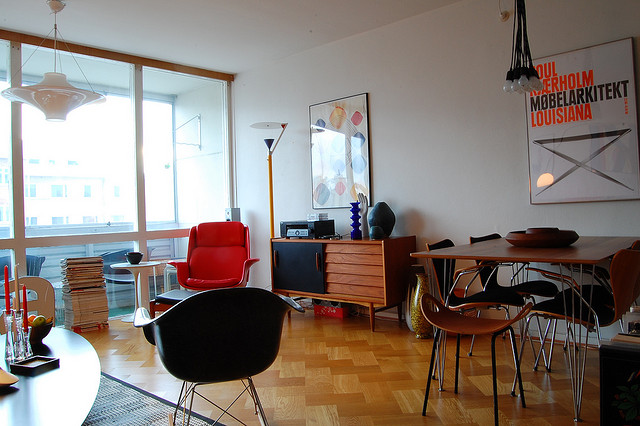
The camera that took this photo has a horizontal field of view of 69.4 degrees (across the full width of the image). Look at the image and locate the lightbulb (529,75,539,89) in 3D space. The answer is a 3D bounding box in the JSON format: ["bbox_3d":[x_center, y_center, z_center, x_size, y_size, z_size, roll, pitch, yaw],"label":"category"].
[{"bbox_3d":[1.716,-1.056,3.722,0.087,0.072,0.069,5,-6,-21],"label":"lightbulb"}]

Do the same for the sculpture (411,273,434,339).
[{"bbox_3d":[1.064,1.062,5.020,0.212,0.793,0.280,1,8,28],"label":"sculpture"}]

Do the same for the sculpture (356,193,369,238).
[{"bbox_3d":[0.519,0.023,5.722,0.144,0.514,0.341,-2,8,5],"label":"sculpture"}]

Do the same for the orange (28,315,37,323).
[{"bbox_3d":[-2.282,0.836,3.645,0.046,0.053,0.059,-4,-10,-4],"label":"orange"}]

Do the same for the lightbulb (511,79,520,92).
[{"bbox_3d":[1.619,-1.061,3.822,0.054,0.079,0.058,-7,9,-42],"label":"lightbulb"}]

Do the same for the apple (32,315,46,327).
[{"bbox_3d":[-2.171,0.835,3.562,0.081,0.060,0.060,-29,-24,4],"label":"apple"}]

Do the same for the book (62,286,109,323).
[{"bbox_3d":[-2.920,1.158,5.754,0.463,0.447,0.353,-2,-3,-40],"label":"book"}]

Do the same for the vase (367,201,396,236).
[{"bbox_3d":[0.727,0.062,5.425,0.359,0.416,0.360,0,-7,1],"label":"vase"}]

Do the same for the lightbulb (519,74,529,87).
[{"bbox_3d":[1.645,-1.070,3.734,0.071,0.094,0.038,-5,8,-20],"label":"lightbulb"}]

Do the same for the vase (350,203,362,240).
[{"bbox_3d":[0.427,0.098,5.542,0.131,0.419,0.317,-2,8,5],"label":"vase"}]

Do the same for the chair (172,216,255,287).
[{"bbox_3d":[-1.293,0.513,5.905,0.885,0.792,0.800,0,-8,10],"label":"chair"}]
